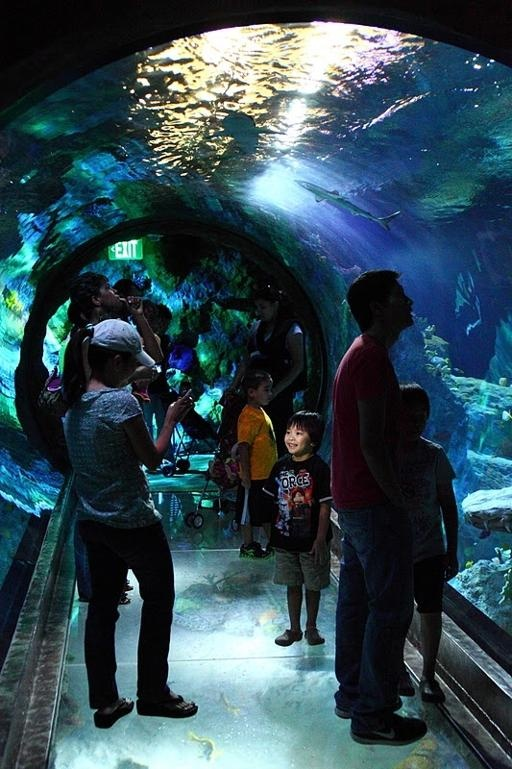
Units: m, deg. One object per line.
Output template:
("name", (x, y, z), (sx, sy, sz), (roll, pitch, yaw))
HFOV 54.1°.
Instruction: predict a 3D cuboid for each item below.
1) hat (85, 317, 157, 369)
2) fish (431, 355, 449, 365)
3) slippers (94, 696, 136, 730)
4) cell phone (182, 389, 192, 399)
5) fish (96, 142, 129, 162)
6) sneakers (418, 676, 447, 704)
("hat", (-0.630, -0.215, 2.420), (0.341, 0.169, 0.218), (15, 2, -43))
("fish", (1.766, -0.231, 4.815), (0.093, 0.077, 0.237), (12, 7, 38))
("slippers", (-0.738, 1.737, 2.736), (0.091, 0.097, 0.253), (7, 7, 31))
("cell phone", (-0.495, 0.064, 3.625), (0.033, 0.087, 0.090), (40, 8, -13))
("fish", (-1.438, -2.377, 5.146), (0.197, 0.049, 0.211), (-4, -2, 41))
("sneakers", (0.995, 1.731, 2.862), (0.090, 0.169, 0.178), (-3, -20, -8))
